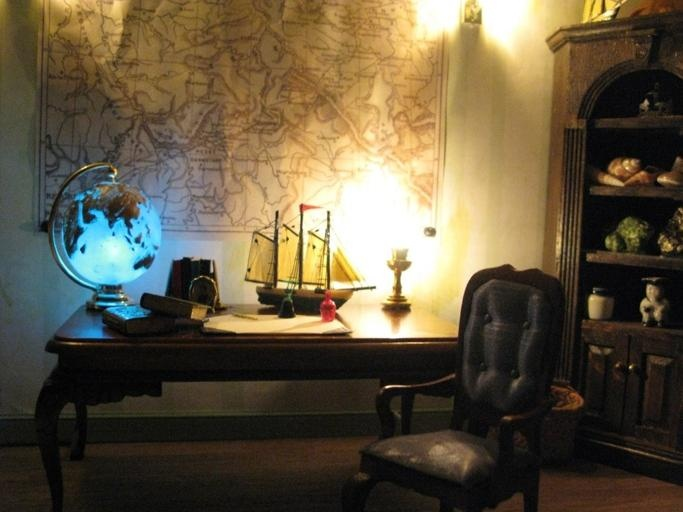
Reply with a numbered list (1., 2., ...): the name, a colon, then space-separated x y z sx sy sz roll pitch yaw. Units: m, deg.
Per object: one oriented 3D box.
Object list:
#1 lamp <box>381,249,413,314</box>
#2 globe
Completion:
1. lamp: 0.307 0.135 3.653 0.143 0.371 0.135 0 10 -20
2. globe: -1.243 -0.098 3.459 0.583 0.763 0.526 -2 2 -37
